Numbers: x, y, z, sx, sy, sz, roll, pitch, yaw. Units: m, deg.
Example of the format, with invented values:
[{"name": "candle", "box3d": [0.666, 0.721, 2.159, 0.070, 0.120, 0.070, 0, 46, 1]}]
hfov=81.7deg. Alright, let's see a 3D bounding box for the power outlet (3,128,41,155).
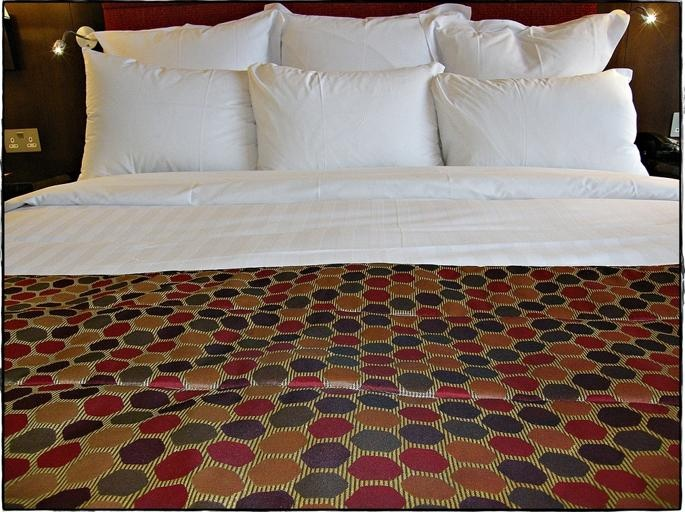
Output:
[{"name": "power outlet", "box3d": [-2.039, -0.730, 2.526, 0.238, 0.156, 0.066, 2, 19, 8]}]
